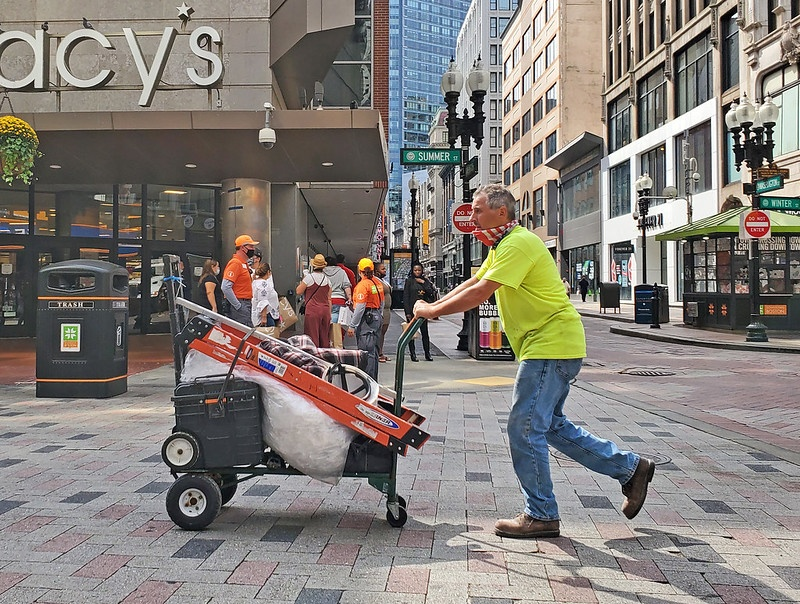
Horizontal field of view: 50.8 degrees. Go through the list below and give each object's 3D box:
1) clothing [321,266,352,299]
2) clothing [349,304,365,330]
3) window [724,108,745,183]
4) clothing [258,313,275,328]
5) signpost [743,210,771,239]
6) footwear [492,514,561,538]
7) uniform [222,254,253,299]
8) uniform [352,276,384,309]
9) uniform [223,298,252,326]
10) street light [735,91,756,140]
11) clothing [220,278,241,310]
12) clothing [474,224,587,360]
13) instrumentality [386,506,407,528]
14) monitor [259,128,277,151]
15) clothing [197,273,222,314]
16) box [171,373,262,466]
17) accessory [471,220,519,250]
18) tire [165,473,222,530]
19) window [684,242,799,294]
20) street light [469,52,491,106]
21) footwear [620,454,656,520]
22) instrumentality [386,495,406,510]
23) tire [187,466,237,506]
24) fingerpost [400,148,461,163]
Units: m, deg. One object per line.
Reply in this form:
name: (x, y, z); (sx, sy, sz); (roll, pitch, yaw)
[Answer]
clothing: (-1.154, -0.329, 15.296); (0.606, 0.644, 0.266); (0, 10, 19)
clothing: (-0.653, 0.249, 13.341); (0.100, 0.364, 0.254); (16, 8, -4)
window: (9.150, -4.133, 22.824); (0.293, 1.336, 0.313); (-4, 4, 18)
clothing: (-2.151, 0.339, 13.809); (0.230, 0.180, 0.322); (-1, 18, -2)
signpost: (8.267, -1.784, 19.562); (0.645, 0.808, 0.261); (1, -10, 6)
footwear: (1.066, 1.874, 7.027); (0.524, 0.251, 0.203); (3, -8, 3)
uniform: (-2.540, -0.374, 13.038); (0.520, 0.924, 1.035); (0, 4, -9)
uniform: (-0.550, -0.104, 13.727); (0.409, 0.630, 0.744); (-5, -5, 24)
uniform: (-2.274, 0.161, 12.024); (0.311, 0.566, 0.395); (-2, 3, 2)
street light: (8.413, -4.573, 20.487); (0.480, 0.940, 0.495); (-5, 1, -18)
clothing: (-2.560, -0.121, 12.902); (0.227, 0.423, 0.305); (-23, 38, -23)
clothing: (1.133, -0.054, 7.488); (1.004, 1.456, 1.041); (-9, -1, 5)
instrumentality: (-0.006, 1.850, 7.139); (0.176, 0.205, 0.131); (-2, -6, 12)
monitor: (-2.328, -2.851, 14.692); (0.302, 0.441, 0.310); (12, 16, 39)
clothing: (-2.808, -0.099, 12.561); (0.475, 0.848, 0.650); (-1, 1, -14)
box: (-1.524, 0.999, 7.307); (0.722, 0.748, 0.732); (-1, 0, -2)
accessory: (0.790, -0.568, 7.073); (0.252, 0.159, 0.217); (-11, 13, 21)
tire: (-1.699, 1.678, 7.038); (0.449, 0.478, 0.168); (7, 2, 6)
window: (9.499, -0.961, 22.720); (1.383, 1.026, 2.359); (1, -2, 4)
street light: (1.660, -4.719, 17.695); (0.554, 0.858, 0.543); (-7, 9, -44)
footwear: (1.981, 1.559, 7.045); (0.264, 0.593, 0.206); (12, 6, 2)
instrumentality: (-0.010, 1.709, 7.097); (0.100, 0.146, 0.052); (-2, -15, -29)
tire: (-1.522, 1.608, 7.289); (0.350, 0.374, 0.093); (-8, 9, 30)
fingerpost: (0.551, -2.725, 15.864); (1.045, 0.316, 1.032); (8, 12, 37)
